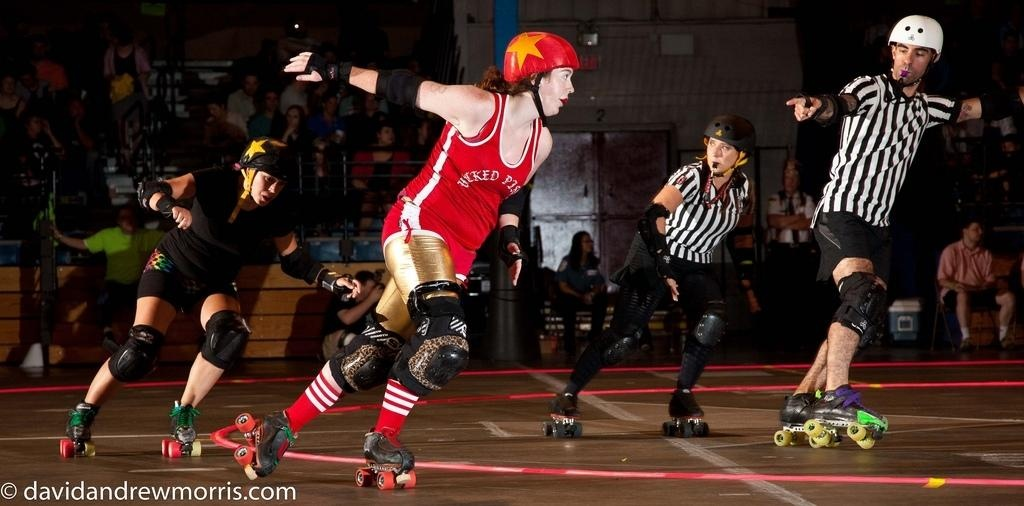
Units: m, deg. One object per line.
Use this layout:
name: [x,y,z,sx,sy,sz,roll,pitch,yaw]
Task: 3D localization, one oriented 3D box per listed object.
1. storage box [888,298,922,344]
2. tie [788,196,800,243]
storage box: [7.104,1.217,17.628,0.558,0.799,0.279,3,-2,16]
tie: [5.179,-0.600,17.829,0.177,0.837,0.130,2,-7,-4]
